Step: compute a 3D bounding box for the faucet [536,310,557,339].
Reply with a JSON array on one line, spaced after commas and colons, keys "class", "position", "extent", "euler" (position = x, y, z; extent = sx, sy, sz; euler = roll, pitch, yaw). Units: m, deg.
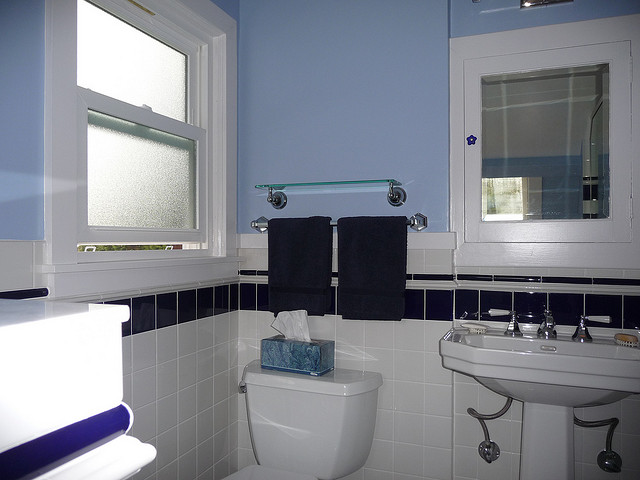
[{"class": "faucet", "position": [0.893, 0.333, 1.889], "extent": [0.074, 0.094, 0.052], "euler": [4, -7, 1]}]

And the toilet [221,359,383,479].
[{"class": "toilet", "position": [-0.047, 0.762, 2.057], "extent": [0.615, 0.419, 0.226], "euler": [0, 1, 6]}]

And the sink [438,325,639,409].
[{"class": "sink", "position": [0.805, 0.485, 1.804], "extent": [0.679, 0.265, 0.320], "euler": [0, 2, 18]}]

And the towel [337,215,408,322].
[{"class": "towel", "position": [0.215, 0.116, 2.006], "extent": [0.280, 0.426, 0.070], "euler": [0, 1, 4]}]
